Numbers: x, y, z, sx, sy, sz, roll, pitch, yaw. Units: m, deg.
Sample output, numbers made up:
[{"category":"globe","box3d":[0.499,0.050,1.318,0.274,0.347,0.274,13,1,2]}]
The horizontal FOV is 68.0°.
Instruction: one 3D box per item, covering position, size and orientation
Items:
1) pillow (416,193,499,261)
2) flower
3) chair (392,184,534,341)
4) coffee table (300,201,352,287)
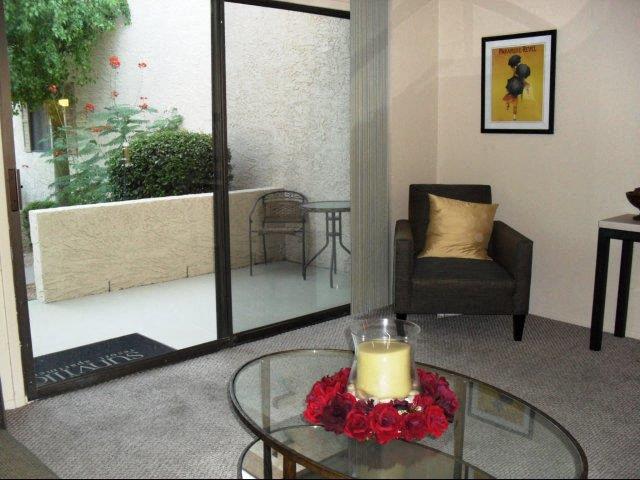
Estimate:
[{"category":"pillow","box3d":[1.117,-0.097,3.843,0.490,0.404,0.226,10,-30,12]},{"category":"flower","box3d":[0.204,0.603,1.760,0.577,0.192,0.364,3,13,16]},{"category":"chair","box3d":[1.004,0.062,3.991,1.204,1.257,1.205,1,9,4]},{"category":"coffee table","box3d":[0.122,-0.003,4.015,0.525,0.603,0.512,-4,3,-14]}]
